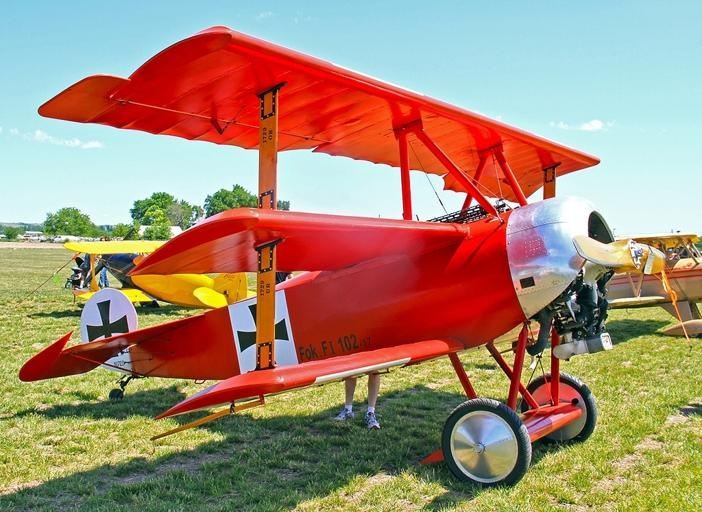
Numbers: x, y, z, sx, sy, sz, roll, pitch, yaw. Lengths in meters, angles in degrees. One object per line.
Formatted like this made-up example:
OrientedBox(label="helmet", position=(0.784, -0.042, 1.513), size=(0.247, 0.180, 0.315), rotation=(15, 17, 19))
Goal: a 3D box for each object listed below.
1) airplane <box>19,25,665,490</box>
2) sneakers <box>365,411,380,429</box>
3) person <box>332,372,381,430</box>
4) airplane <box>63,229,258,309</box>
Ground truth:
OrientedBox(label="airplane", position=(-0.526, 0.091, 7.448), size=(6.232, 2.561, 6.706), rotation=(-4, -4, 36))
OrientedBox(label="sneakers", position=(0.291, 2.203, 8.244), size=(0.162, 0.109, 0.233), rotation=(0, 17, -14))
OrientedBox(label="person", position=(0.148, 1.977, 8.326), size=(0.793, 0.612, 0.599), rotation=(-1, -10, 34))
OrientedBox(label="airplane", position=(-5.149, 0.529, 15.821), size=(3.268, 0.965, 3.672), rotation=(16, 10, 25))
